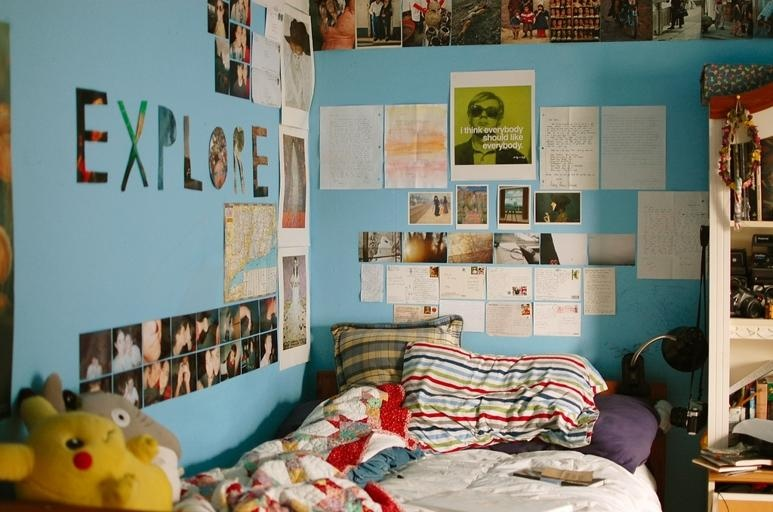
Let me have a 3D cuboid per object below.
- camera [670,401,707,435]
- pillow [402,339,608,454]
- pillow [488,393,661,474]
[{"bbox_3d":[1.714,0.898,3.372,0.232,0.148,0.178,9,-7,-40],"label":"camera"},{"bbox_3d":[0.591,0.749,3.199,0.841,0.210,0.561,1,33,14],"label":"pillow"},{"bbox_3d":[0.948,0.853,3.310,0.585,0.148,0.613,2,8,39],"label":"pillow"}]
